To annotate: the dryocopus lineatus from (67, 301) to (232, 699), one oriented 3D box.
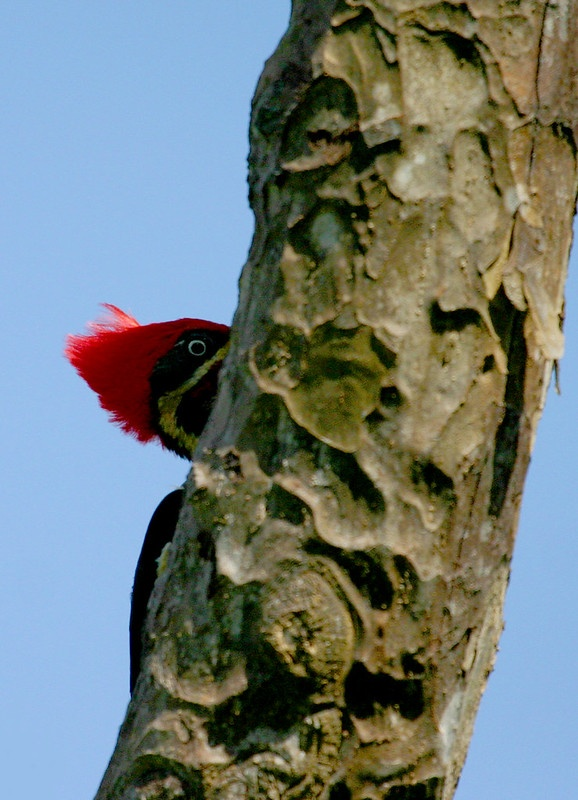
[{"bbox_3d":[-0.341,0.238,6.385,0.341,0.807,0.608,8,-3,-39],"label":"dryocopus lineatus"}]
